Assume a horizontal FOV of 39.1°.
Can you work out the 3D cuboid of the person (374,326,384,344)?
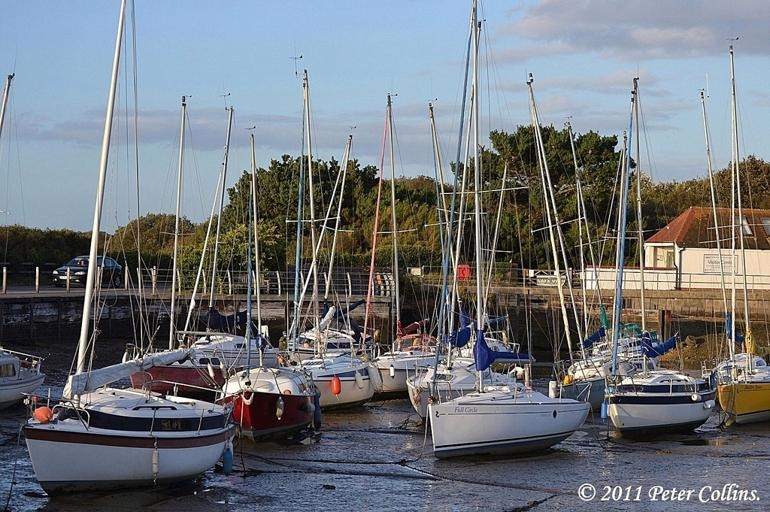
[{"bbox_3d":[-0.381,4.138,56.455,0.442,0.547,1.357,14,-13,4],"label":"person"}]
